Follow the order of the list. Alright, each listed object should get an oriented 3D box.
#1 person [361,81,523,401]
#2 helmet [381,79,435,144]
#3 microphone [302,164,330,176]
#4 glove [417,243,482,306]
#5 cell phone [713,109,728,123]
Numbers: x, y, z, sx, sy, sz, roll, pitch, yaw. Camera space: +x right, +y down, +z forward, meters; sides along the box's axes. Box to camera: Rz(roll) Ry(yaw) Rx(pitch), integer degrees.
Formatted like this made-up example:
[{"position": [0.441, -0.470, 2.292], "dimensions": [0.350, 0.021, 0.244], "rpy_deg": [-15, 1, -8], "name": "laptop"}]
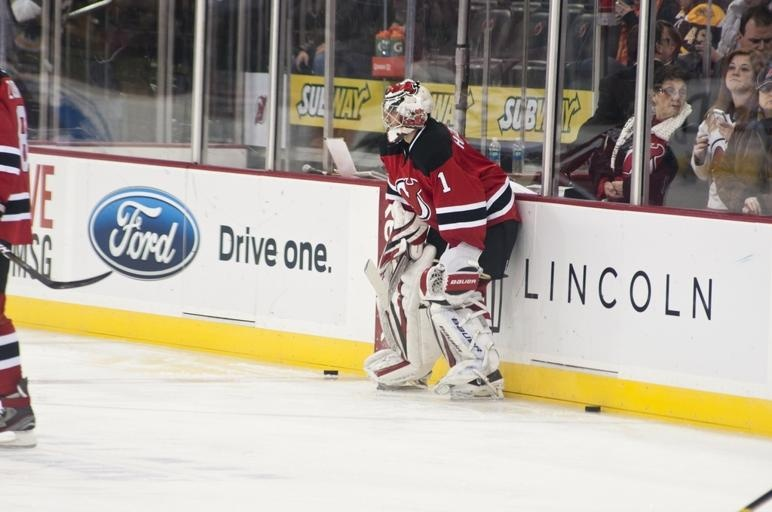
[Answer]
[{"position": [0.344, -0.117, 7.679], "dimensions": [0.883, 1.913, 0.416], "rpy_deg": [5, 8, 20], "name": "person"}, {"position": [0.125, -0.899, 7.663], "dimensions": [0.373, 0.404, 0.310], "rpy_deg": [-2, 13, 1], "name": "helmet"}, {"position": [-0.497, -0.600, 8.527], "dimensions": [0.220, 0.053, 0.073], "rpy_deg": [9, 28, -8], "name": "microphone"}, {"position": [0.420, 0.127, 7.566], "dimensions": [0.403, 0.300, 0.177], "rpy_deg": [-2, 15, 16], "name": "glove"}, {"position": [2.227, -0.932, 8.199], "dimensions": [0.061, 0.112, 0.015], "rpy_deg": [-21, 0, 32], "name": "cell phone"}]
